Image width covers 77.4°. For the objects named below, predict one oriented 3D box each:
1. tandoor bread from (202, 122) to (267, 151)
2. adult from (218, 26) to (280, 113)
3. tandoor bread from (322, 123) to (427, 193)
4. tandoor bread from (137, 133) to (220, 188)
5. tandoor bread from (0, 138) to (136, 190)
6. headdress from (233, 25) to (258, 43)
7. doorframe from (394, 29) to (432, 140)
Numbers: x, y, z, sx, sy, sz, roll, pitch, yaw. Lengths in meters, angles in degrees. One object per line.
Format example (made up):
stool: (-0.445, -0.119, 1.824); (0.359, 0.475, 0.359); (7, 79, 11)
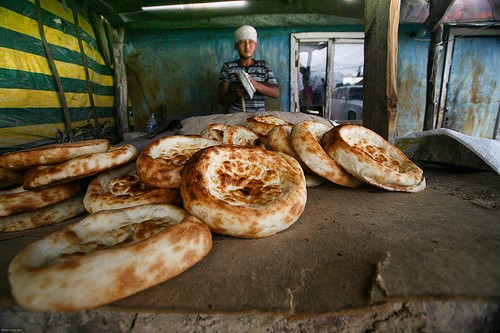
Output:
tandoor bread: (-0.149, -0.316, 3.376); (0.436, 0.133, 0.453); (17, -1, 6)
adult: (-0.013, -1.609, 5.178); (0.940, 1.427, 1.128); (-7, 19, -16)
tandoor bread: (1.237, -0.081, 3.143); (0.854, 0.175, 0.862); (8, 27, -46)
tandoor bread: (-0.807, -0.001, 3.082); (0.650, 0.188, 0.621); (15, 29, -53)
tandoor bread: (-1.694, -0.044, 2.914); (0.753, 0.194, 0.675); (-12, 15, -8)
headdress: (-0.045, -2.206, 5.326); (0.352, 0.221, 0.346); (7, 13, 33)
doorframe: (3.956, -1.973, 7.687); (0.811, 2.467, 0.466); (0, 20, 6)
